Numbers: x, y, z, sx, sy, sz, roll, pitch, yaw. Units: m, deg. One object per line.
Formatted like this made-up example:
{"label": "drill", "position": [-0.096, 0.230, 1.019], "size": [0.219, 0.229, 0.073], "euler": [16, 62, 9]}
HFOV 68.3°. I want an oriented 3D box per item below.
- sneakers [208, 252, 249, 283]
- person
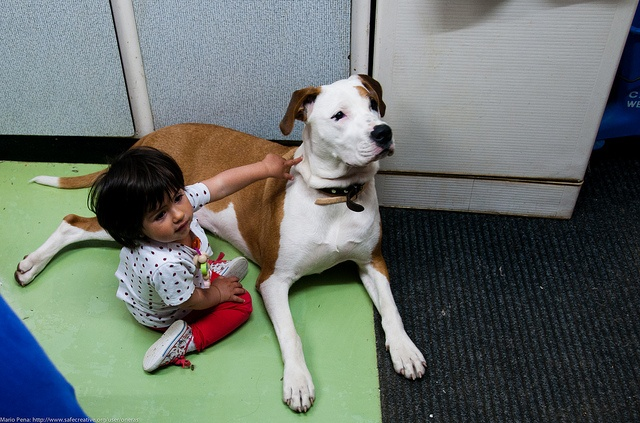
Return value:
{"label": "sneakers", "position": [-0.503, 0.327, 2.684], "size": [0.117, 0.279, 0.102], "euler": [15, 92, 23]}
{"label": "person", "position": [-0.683, 0.035, 2.659], "size": [0.725, 0.904, 1.311], "euler": [-14, 31, -7]}
